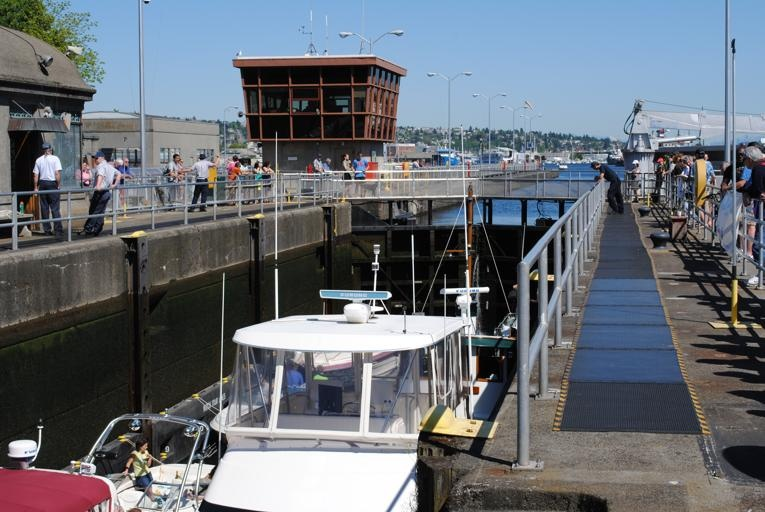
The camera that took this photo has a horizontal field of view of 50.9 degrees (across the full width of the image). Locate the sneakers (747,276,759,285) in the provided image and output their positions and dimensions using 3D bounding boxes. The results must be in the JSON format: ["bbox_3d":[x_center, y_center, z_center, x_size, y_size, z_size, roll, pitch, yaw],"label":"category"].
[{"bbox_3d":[7.026,0.454,15.247,0.187,0.160,0.277,2,13,22],"label":"sneakers"}]

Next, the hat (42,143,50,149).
[{"bbox_3d":[-8.610,-2.821,20.486,0.195,0.084,0.270,0,1,-6],"label":"hat"}]

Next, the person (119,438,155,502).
[{"bbox_3d":[-5.036,4.522,16.759,0.640,1.433,0.440,-12,6,-36],"label":"person"}]
